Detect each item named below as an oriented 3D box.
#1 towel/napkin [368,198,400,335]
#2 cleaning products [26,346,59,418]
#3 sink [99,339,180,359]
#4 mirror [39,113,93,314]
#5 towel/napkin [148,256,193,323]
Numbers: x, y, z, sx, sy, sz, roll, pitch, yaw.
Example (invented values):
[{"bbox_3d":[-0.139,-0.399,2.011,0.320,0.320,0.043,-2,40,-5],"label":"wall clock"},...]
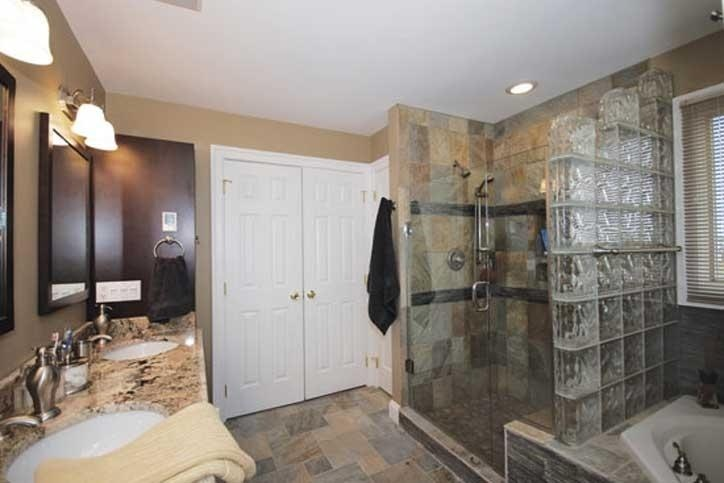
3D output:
[{"bbox_3d":[0.169,0.207,4.284,0.324,1.109,0.245,-3,1,14],"label":"towel/napkin"},{"bbox_3d":[-1.788,0.787,2.741,0.160,0.394,0.171,-1,8,-42],"label":"cleaning products"},{"bbox_3d":[-1.593,0.785,3.528,0.509,0.152,0.184,-3,0,-34],"label":"sink"},{"bbox_3d":[-2.013,-0.171,3.327,0.179,1.463,0.640,-3,1,-13],"label":"mirror"},{"bbox_3d":[-1.507,0.328,3.811,0.237,0.455,0.394,12,9,26],"label":"towel/napkin"}]
